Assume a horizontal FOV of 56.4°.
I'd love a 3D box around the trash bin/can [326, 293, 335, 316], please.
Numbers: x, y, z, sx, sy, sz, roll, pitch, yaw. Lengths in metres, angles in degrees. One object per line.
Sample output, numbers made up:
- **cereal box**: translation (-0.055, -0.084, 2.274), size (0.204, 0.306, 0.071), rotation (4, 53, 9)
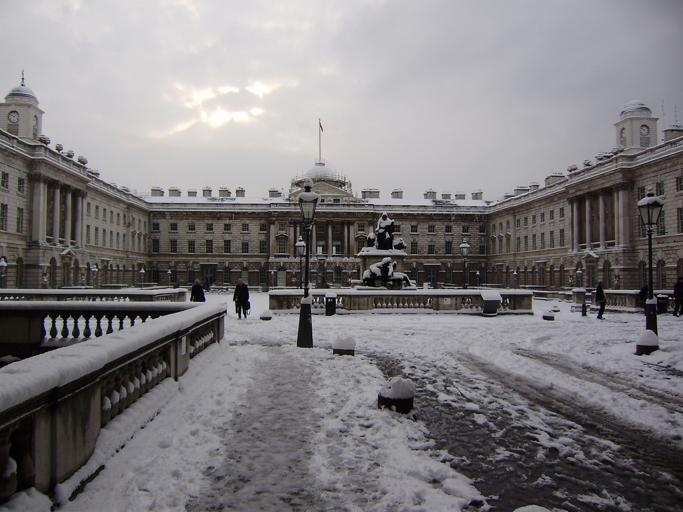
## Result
- **trash bin/can**: translation (-0.452, 2.118, 27.365), size (0.388, 0.785, 0.629), rotation (1, 9, -5)
